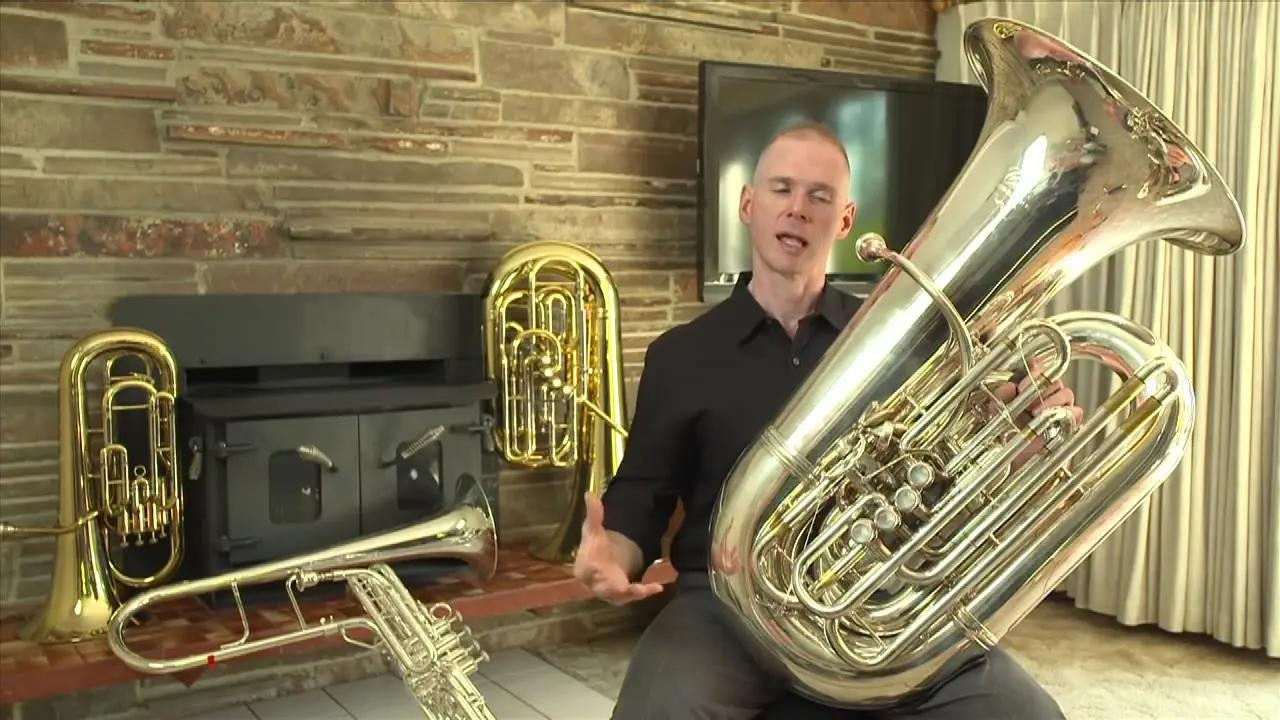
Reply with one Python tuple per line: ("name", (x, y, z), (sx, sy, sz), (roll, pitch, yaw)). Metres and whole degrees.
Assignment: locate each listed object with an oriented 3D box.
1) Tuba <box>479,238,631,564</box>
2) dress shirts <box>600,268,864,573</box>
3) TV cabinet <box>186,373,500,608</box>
("Tuba", (-0.388, 0.129, 3.627), (0.672, 1.046, 0.513), (0, 2, -15))
("dress shirts", (0.186, 0.128, 2.386), (0.508, 0.776, 0.251), (13, 1, -36))
("TV cabinet", (-1.106, 0.468, 3.408), (1.106, 0.601, 0.653), (-1, -3, -41))
